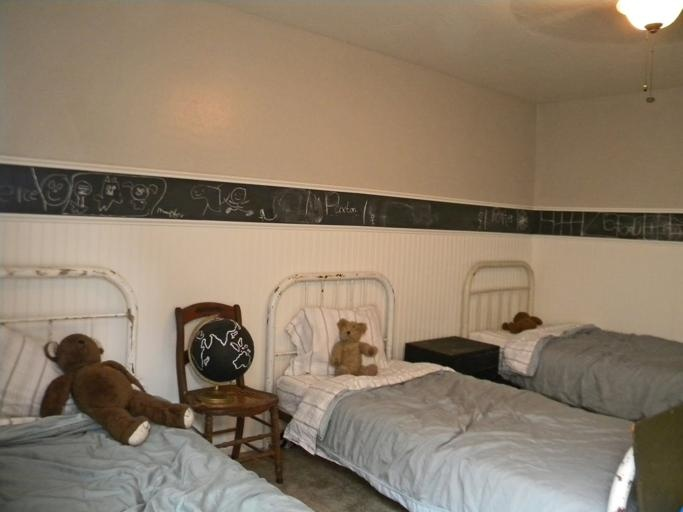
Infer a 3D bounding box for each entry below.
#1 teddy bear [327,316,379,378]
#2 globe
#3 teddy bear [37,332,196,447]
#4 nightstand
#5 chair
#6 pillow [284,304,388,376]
[{"bbox_3d":[0.073,0.769,3.779,0.478,0.611,0.350,9,-19,-25],"label":"teddy bear"},{"bbox_3d":[-0.732,0.681,3.344,0.467,0.590,0.476,6,1,-4],"label":"globe"},{"bbox_3d":[-1.286,0.720,2.763,0.702,0.594,0.596,2,5,-43],"label":"teddy bear"},{"bbox_3d":[1.015,0.746,4.366,0.445,0.334,0.619,1,2,-37],"label":"nightstand"},{"bbox_3d":[-0.722,0.944,3.330,0.627,1.305,0.639,0,4,-41],"label":"chair"},{"bbox_3d":[-0.135,0.621,3.689,0.604,0.585,0.165,4,-16,-22],"label":"pillow"}]
